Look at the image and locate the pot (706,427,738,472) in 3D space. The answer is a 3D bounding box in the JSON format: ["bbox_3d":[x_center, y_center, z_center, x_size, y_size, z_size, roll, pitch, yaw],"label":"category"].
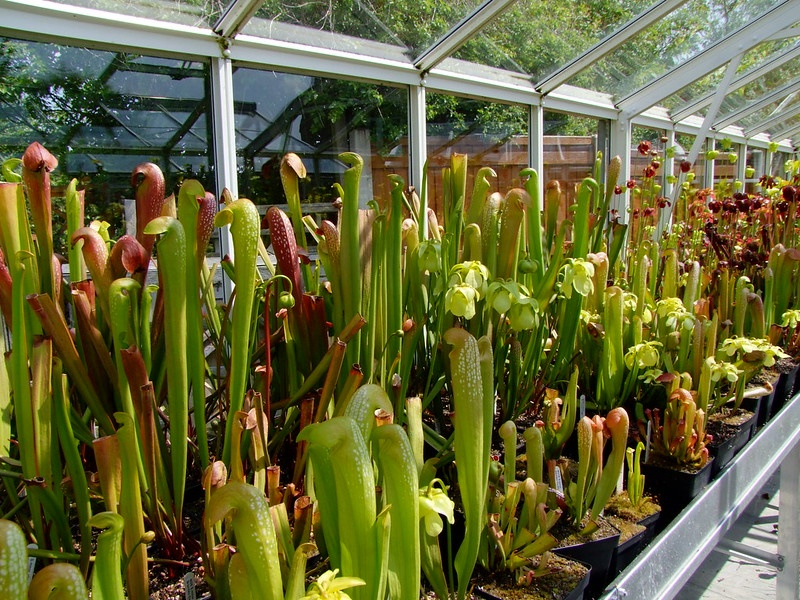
[{"bbox_3d":[0.806,0.373,1.797,0.065,0.058,0.102,-4,25,40],"label":"pot"}]

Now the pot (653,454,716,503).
[{"bbox_3d":[0.686,0.451,1.771,0.174,0.117,0.251,-7,-16,26],"label":"pot"}]

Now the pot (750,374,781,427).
[{"bbox_3d":[1.054,0.292,2.090,0.080,0.123,0.101,19,10,15],"label":"pot"}]

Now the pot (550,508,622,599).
[{"bbox_3d":[0.385,0.502,1.437,0.115,0.162,0.136,-7,9,-37],"label":"pot"}]

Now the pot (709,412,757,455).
[{"bbox_3d":[0.868,0.330,1.870,0.137,0.073,0.089,-6,4,-42],"label":"pot"}]
